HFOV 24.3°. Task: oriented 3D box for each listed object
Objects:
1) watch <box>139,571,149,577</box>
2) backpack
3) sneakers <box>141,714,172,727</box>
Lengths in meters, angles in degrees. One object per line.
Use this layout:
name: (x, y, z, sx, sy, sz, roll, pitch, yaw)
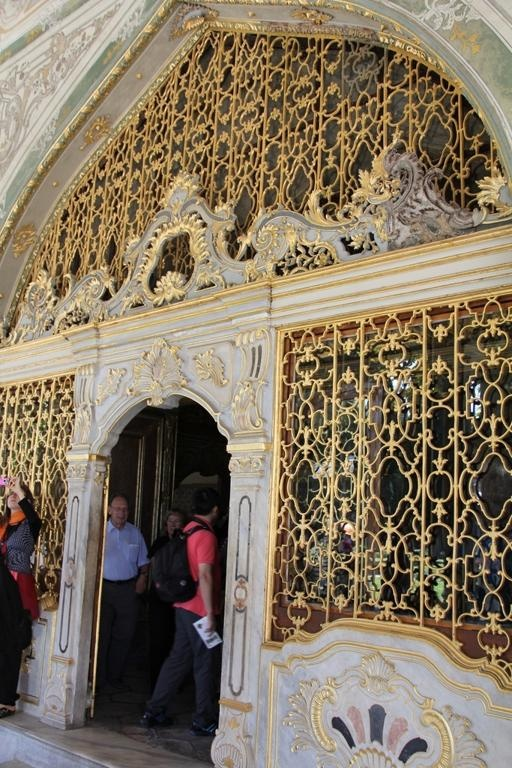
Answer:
watch: (-0.736, 1.253, 7.851, 0.044, 0.034, 0.044, 3, -7, -28)
backpack: (-0.408, 1.031, 6.610, 0.303, 0.536, 0.378, 13, -33, -18)
sneakers: (-0.555, 1.886, 6.667, 0.193, 0.085, 0.070, 6, -8, -37)
